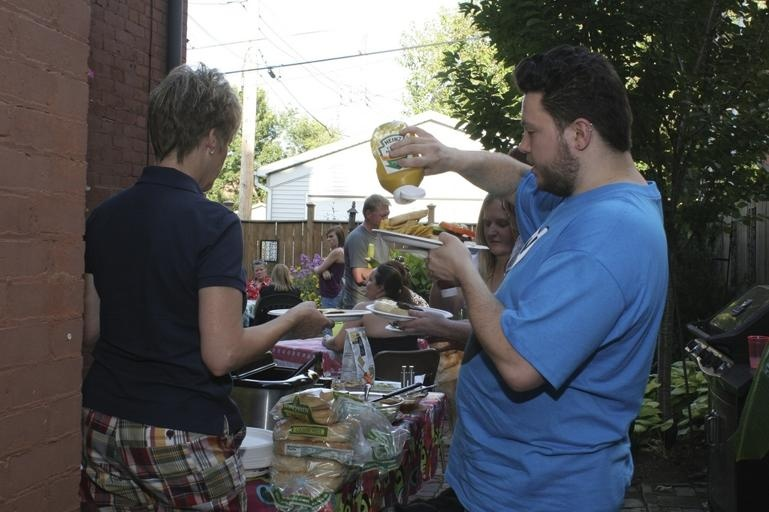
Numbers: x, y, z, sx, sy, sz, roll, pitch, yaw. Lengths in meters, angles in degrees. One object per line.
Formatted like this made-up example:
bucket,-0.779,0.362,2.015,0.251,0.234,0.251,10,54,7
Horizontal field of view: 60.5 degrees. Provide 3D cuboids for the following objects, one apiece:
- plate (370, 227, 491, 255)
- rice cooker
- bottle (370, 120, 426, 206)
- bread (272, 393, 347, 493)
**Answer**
plate,0.186,-0.075,2.980,0.486,0.135,0.278,-4,10,-39
rice cooker,-0.568,0.726,3.339,0.432,0.315,0.291,0,-5,2
bottle,0.054,-0.397,2.908,0.194,0.388,0.196,2,9,0
bread,-0.286,0.766,2.847,0.319,0.388,0.304,5,6,4
